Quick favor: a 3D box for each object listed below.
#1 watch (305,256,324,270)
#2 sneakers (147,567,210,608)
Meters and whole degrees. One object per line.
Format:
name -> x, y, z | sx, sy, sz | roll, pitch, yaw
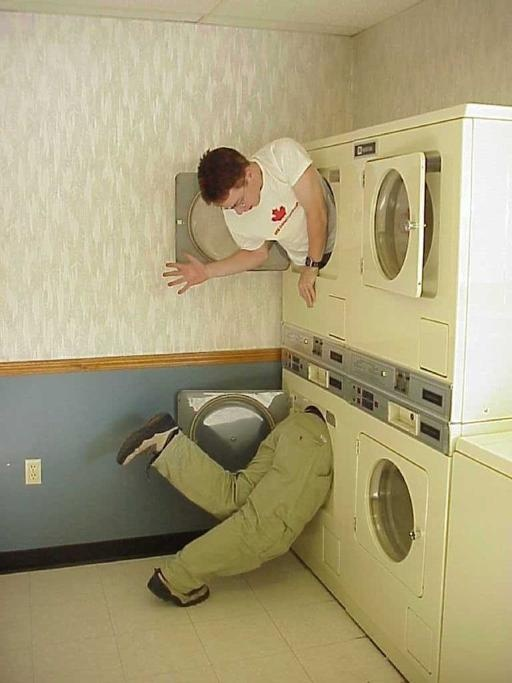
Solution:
watch -> 0.240, -0.303, 2.200 | 0.066, 0.046, 0.073 | 2, 8, -38
sneakers -> -0.316, 0.996, 2.238 | 0.281, 0.131, 0.114 | 16, 13, -33
